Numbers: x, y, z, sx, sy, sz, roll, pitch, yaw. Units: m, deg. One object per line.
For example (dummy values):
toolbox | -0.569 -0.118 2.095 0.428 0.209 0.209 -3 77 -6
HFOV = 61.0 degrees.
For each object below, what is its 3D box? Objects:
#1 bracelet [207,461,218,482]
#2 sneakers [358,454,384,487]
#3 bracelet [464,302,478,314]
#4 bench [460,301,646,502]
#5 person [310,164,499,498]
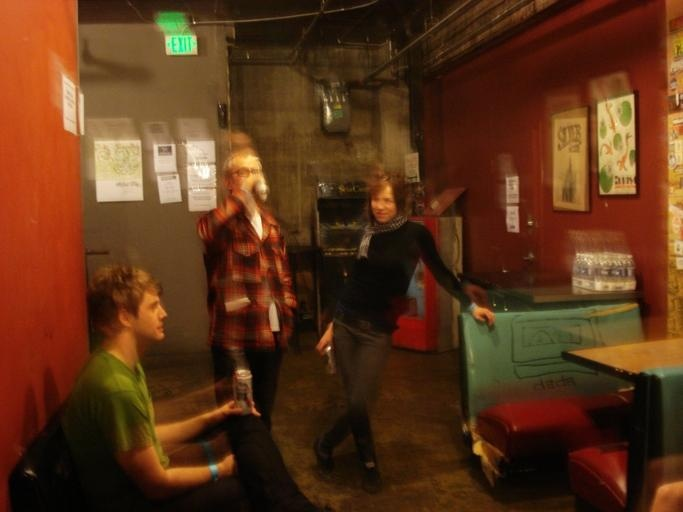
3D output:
bracelet | -0.492 0.818 2.222 0.031 0.043 0.043 -2 18 -27
sneakers | 0.154 1.159 3.286 0.087 0.251 0.096 -5 -11 2
bracelet | 0.713 0.288 3.191 0.050 0.039 0.052 -2 -3 38
bench | 1.192 0.757 3.123 0.908 0.689 0.448 -5 12 -10
person | 0.323 0.413 3.199 0.730 1.723 0.205 -3 4 -16
